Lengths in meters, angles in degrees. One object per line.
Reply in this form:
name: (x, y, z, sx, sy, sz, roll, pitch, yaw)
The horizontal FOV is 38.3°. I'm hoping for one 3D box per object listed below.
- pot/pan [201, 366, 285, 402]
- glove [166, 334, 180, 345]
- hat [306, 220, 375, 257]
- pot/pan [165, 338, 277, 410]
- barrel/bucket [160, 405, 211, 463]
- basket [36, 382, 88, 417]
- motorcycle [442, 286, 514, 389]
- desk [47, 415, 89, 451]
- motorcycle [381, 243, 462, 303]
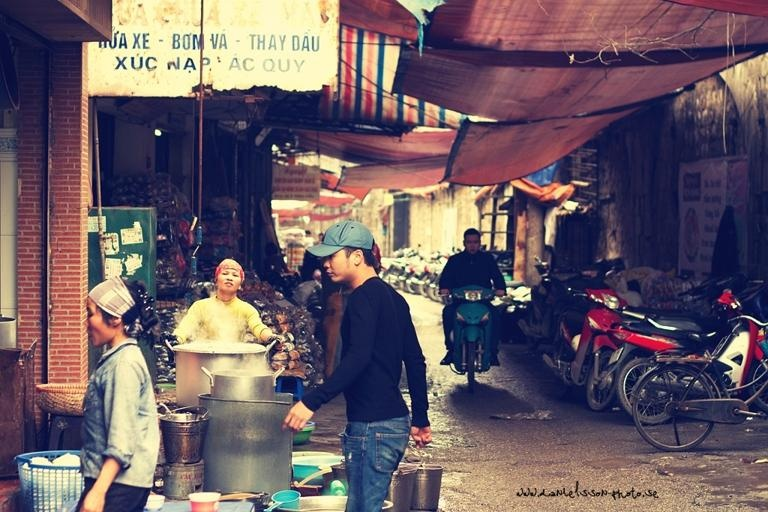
pot/pan: (-1.426, 1.270, 11.022, 0.792, 0.323, 0.569, 2, -6, -10)
glove: (-2.303, 0.909, 11.939, 0.114, 0.053, 0.134, 35, 4, -5)
hat: (-0.402, -0.165, 10.259, 0.679, 0.360, 0.466, -2, 0, -14)
pot/pan: (-1.727, 1.212, 11.438, 0.834, 0.491, 0.669, 0, -2, -4)
barrel/bucket: (-1.968, 1.777, 11.012, 0.510, 0.534, 0.556, 0, -14, 0)
basket: (-3.423, 1.511, 11.777, 0.590, 0.282, 0.715, 1, -9, 2)
motorcycle: (1.280, 1.181, 16.120, 0.681, 1.482, 0.896, 1, -6, 5)
desk: (-3.339, 1.831, 11.779, 0.328, 0.310, 0.362, 5, -10, 15)
motorcycle: (0.918, 0.638, 34.261, 2.467, 1.543, 1.320, -1, 5, -37)
